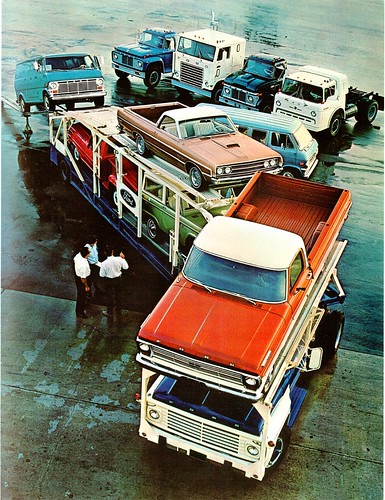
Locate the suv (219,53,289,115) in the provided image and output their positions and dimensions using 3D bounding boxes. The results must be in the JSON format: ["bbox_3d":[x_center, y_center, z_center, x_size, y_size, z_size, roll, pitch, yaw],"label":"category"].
[{"bbox_3d":[2.007,-5.817,16.901,2.004,1.774,3.303,23,50,22],"label":"suv"}]

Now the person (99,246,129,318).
[{"bbox_3d":[-1.338,0.595,7.521,0.449,1.200,0.287,2,30,-12],"label":"person"}]

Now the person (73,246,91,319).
[{"bbox_3d":[-1.825,0.546,7.519,0.239,1.238,0.366,2,30,-12],"label":"person"}]

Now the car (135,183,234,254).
[{"bbox_3d":[-0.196,-0.741,8.743,1.147,0.984,1.850,-25,50,-29],"label":"car"}]

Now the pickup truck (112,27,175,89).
[{"bbox_3d":[-2.090,-8.114,19.310,1.981,1.617,3.164,18,42,19],"label":"pickup truck"}]

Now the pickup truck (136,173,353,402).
[{"bbox_3d":[0.888,0.108,6.085,1.734,1.263,3.655,16,45,25],"label":"pickup truck"}]

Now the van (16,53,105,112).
[{"bbox_3d":[-4.965,-5.650,16.242,2.553,1.648,3.573,-17,27,-29],"label":"van"}]

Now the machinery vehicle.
[{"bbox_3d":[0.529,1.375,5.386,1.558,1.441,1.950,21,30,22],"label":"machinery vehicle"}]

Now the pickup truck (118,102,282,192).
[{"bbox_3d":[-0.180,-2.489,9.880,1.779,1.021,3.528,-25,49,-33],"label":"pickup truck"}]

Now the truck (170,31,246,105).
[{"bbox_3d":[0.278,-7.028,17.548,2.229,1.960,3.325,19,39,18],"label":"truck"}]

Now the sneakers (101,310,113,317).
[{"bbox_3d":[-1.450,1.082,7.748,0.140,0.056,0.045,25,57,26],"label":"sneakers"}]

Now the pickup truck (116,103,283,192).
[{"bbox_3d":[-0.193,-2.485,9.922,1.779,1.037,3.565,-25,49,-33],"label":"pickup truck"}]

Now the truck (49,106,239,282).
[{"bbox_3d":[-0.932,-1.107,9.044,1.687,1.249,4.438,-17,47,-39],"label":"truck"}]
